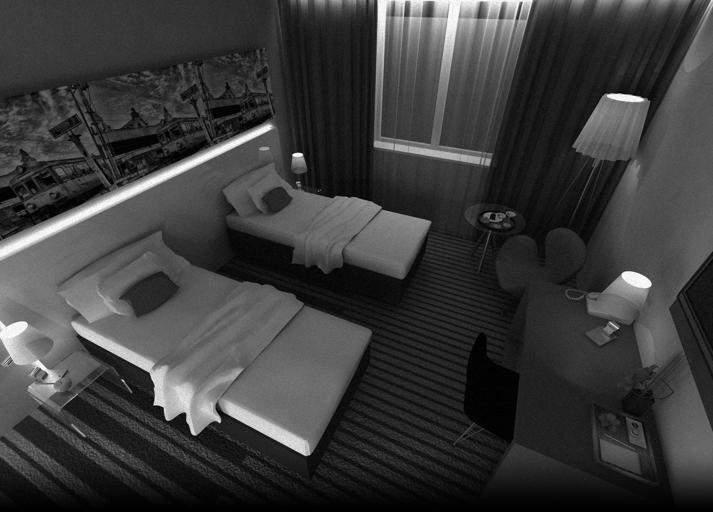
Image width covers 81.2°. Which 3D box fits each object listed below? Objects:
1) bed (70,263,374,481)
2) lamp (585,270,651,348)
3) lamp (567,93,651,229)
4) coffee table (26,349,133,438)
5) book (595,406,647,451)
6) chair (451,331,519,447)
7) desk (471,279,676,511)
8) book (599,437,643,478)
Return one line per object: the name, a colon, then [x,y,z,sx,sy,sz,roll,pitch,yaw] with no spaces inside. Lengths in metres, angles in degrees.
bed: [-0.646,0.919,3.586,2.921,0.563,1.368,14,40,20]
lamp: [2.303,0.491,3.690,0.494,0.354,0.317,-41,54,-17]
lamp: [2.718,-0.969,4.753,0.547,1.664,0.623,31,50,32]
coffee table: [-2.501,1.368,3.940,0.832,0.384,0.610,25,48,19]
book: [1.943,1.294,3.101,0.351,0.024,0.198,13,48,8]
chair: [1.139,1.226,3.734,0.664,0.897,0.591,15,46,25]
desk: [1.709,1.671,3.927,1.193,1.471,2.262,4,33,13]
book: [1.877,1.446,3.004,0.221,0.055,0.211,14,41,15]
